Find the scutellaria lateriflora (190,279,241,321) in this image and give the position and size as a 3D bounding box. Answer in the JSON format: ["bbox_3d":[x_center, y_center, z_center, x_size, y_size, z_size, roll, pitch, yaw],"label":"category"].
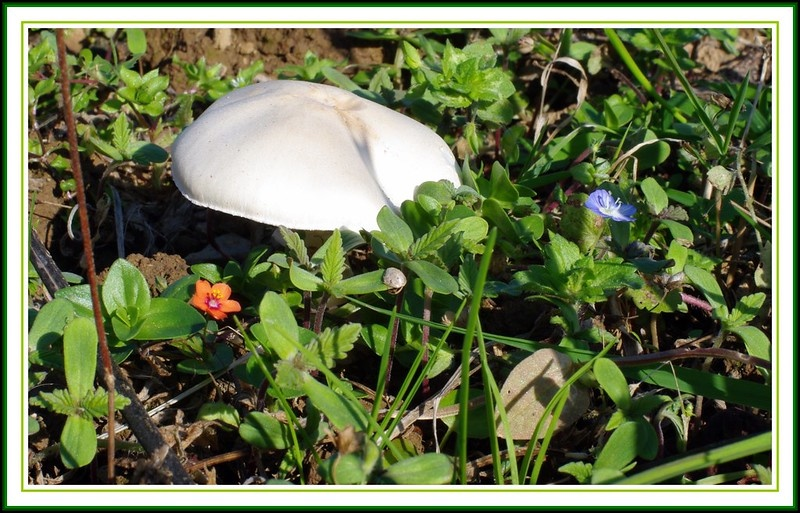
[{"bbox_3d":[-0.880,0.207,3.416,0.208,0.192,0.210,0,0,-23],"label":"scutellaria lateriflora"}]

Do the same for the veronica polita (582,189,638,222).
[{"bbox_3d":[1.064,-0.252,3.634,0.223,0.150,0.373,0,0,18],"label":"veronica polita"}]
